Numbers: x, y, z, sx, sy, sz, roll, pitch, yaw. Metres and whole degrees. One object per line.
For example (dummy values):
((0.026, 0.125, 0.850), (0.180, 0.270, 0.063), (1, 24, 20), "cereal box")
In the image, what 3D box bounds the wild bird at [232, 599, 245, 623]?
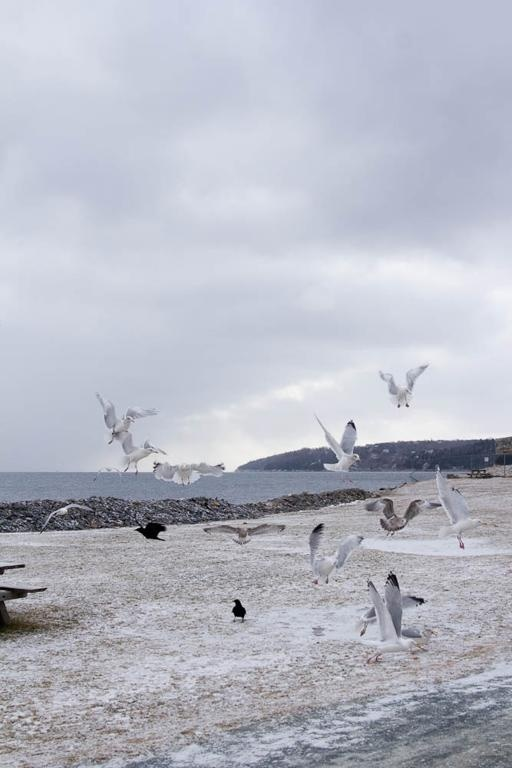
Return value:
((-0.250, 3.411, 14.111), (0.167, 0.305, 0.340), (1, -3, 3), "wild bird")

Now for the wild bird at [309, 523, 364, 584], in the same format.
((1.078, 2.407, 13.208), (0.533, 0.862, 0.936), (2, -3, -16), "wild bird")

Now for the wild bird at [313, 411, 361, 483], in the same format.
((1.329, 0.976, 14.330), (0.491, 0.790, 1.699), (1, -3, 6), "wild bird")

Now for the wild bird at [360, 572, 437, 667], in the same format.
((1.926, 3.239, 12.685), (0.882, 0.827, 1.116), (-14, -42, 25), "wild bird")

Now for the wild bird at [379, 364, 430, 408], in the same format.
((2.521, 0.051, 16.209), (0.717, 0.742, 1.395), (1, -3, 8), "wild bird")
